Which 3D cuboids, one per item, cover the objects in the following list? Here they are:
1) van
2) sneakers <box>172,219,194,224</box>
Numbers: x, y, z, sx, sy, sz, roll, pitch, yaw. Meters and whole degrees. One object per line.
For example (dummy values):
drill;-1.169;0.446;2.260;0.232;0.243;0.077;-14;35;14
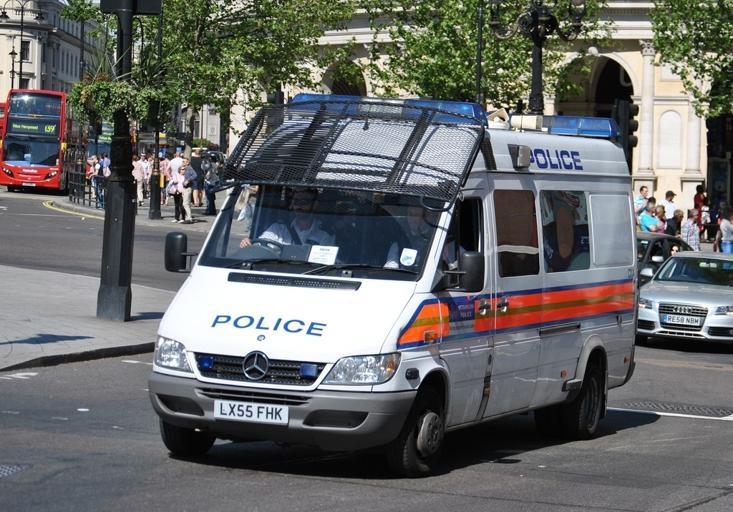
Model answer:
van;0.562;0.177;9.150;2.713;2.810;4.826;-1;-2;32
sneakers;-6.605;-1.242;33.607;0.536;0.226;0.171;7;2;14
